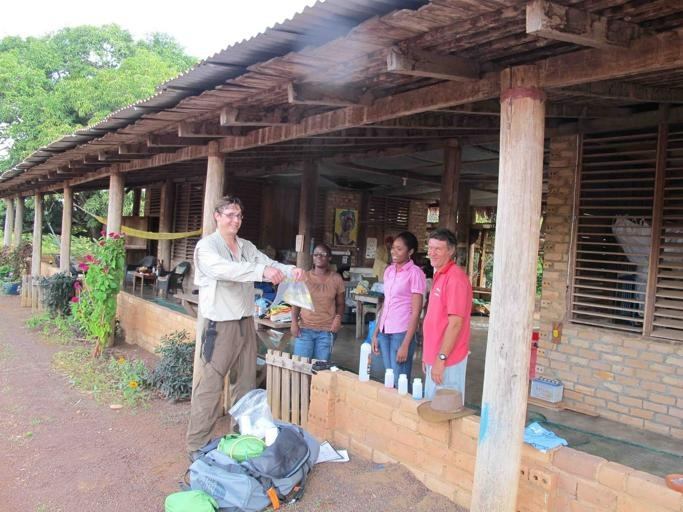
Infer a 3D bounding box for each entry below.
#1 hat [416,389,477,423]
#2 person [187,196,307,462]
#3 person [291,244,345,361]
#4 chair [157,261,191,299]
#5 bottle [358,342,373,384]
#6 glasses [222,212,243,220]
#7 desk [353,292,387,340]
[{"bbox_3d":[0.840,1.221,3.829,0.365,0.131,0.305,-4,5,-18],"label":"hat"},{"bbox_3d":[-1.014,0.685,4.298,0.636,2.439,0.769,3,2,-30],"label":"person"},{"bbox_3d":[-0.271,0.811,5.382,0.650,1.769,0.572,2,13,-12],"label":"person"},{"bbox_3d":[-4.027,0.527,11.256,0.722,0.763,0.632,-4,10,-38],"label":"chair"},{"bbox_3d":[0.247,1.038,4.664,0.118,0.300,0.333,4,2,3],"label":"bottle"},{"bbox_3d":[-0.983,-0.368,4.344,0.088,0.058,0.193,5,2,37],"label":"glasses"},{"bbox_3d":[0.481,1.083,8.377,0.650,0.563,0.594,24,-14,-1],"label":"desk"}]
